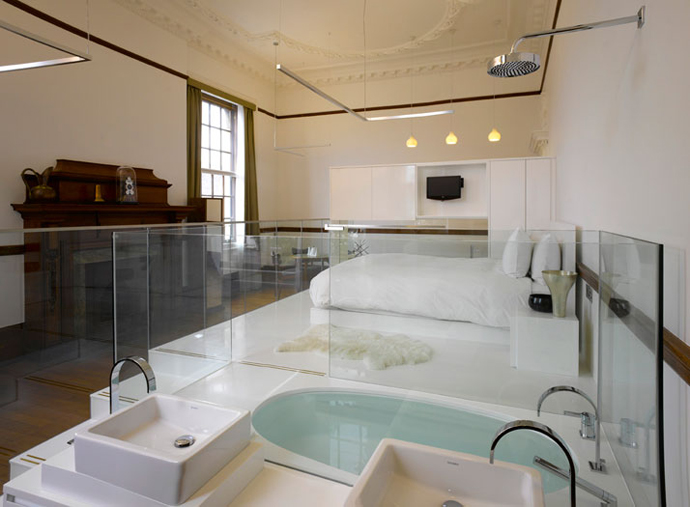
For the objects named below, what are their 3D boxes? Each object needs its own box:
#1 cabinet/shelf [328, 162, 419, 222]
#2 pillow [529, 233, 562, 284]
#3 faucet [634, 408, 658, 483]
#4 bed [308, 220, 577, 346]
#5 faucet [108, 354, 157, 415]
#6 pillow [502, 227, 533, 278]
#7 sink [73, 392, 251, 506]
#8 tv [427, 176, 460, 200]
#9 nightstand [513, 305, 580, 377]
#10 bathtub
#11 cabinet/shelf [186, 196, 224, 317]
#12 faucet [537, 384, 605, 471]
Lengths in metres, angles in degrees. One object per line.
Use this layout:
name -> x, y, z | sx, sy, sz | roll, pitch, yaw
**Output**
cabinet/shelf -> 0.402, -0.930, 6.996 | 1.395, 0.796, 0.324 | 3, 11, 31
pillow -> 1.220, 0.039, 2.782 | 0.103, 0.261, 0.278 | 6, 3, 9
faucet -> 1.265, 0.790, 1.959 | 0.111, 0.294, 0.110 | 6, -1, 29
bed -> 0.667, 0.195, 3.209 | 1.057, 0.453, 0.847 | 4, 11, 22
faucet -> -1.338, 0.859, 2.842 | 0.294, 0.477, 0.110 | 9, 14, 8
pillow -> 1.075, 0.007, 2.860 | 0.124, 0.256, 0.239 | 9, -9, -8
sink -> -0.930, 0.984, 2.394 | 0.691, 0.267, 0.571 | 2, 11, 24
tv -> 1.449, -0.966, 6.708 | 0.492, 0.326, 0.178 | -2, 9, 4
nightstand -> 1.202, 0.512, 2.770 | 0.340, 0.343, 0.357 | 0, -3, 27
bathtub -> 0.207, 0.878, 2.670 | 1.470, 0.218, 0.641 | -1, 10, 25
cabinet/shelf -> -1.171, 0.044, 3.838 | 0.215, 1.007, 0.197 | 2, 7, 19
faucet -> 1.228, 0.942, 2.481 | 0.351, 0.461, 0.125 | -1, 13, 22
